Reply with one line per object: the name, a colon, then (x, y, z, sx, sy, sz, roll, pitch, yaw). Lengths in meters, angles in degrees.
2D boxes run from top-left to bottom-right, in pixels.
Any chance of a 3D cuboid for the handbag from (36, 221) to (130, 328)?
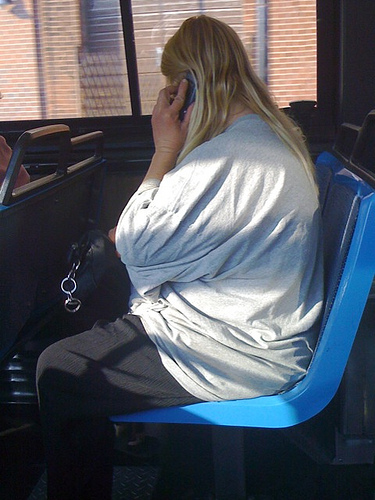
handbag: (-0.336, 0.119, 1.998, 0.168, 0.379, 0.268, -7, 54, -48)
